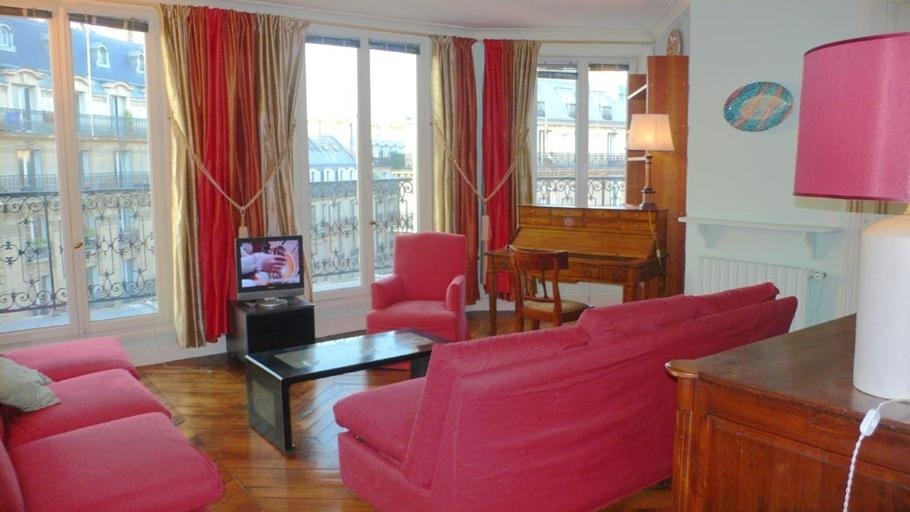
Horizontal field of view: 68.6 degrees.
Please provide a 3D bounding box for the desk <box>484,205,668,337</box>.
[{"bbox_3d":[1.229,0.130,6.729,1.664,1.207,1.001,6,12,37],"label":"desk"}]

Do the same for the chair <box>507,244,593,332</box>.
[{"bbox_3d":[0.887,0.473,6.334,0.798,1.024,0.790,2,2,9],"label":"chair"}]

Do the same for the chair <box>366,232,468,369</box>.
[{"bbox_3d":[-0.330,0.408,6.377,0.955,1.066,0.969,-1,11,7],"label":"chair"}]

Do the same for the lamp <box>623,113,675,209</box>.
[{"bbox_3d":[1.930,-0.952,6.666,0.424,0.919,0.770,-1,9,18],"label":"lamp"}]

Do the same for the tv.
[{"bbox_3d":[-1.734,0.153,6.186,0.734,0.655,0.075,-2,3,-14],"label":"tv"}]

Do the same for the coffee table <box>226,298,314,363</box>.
[{"bbox_3d":[-1.764,0.613,6.294,0.666,0.538,0.640,-4,4,-38],"label":"coffee table"}]
